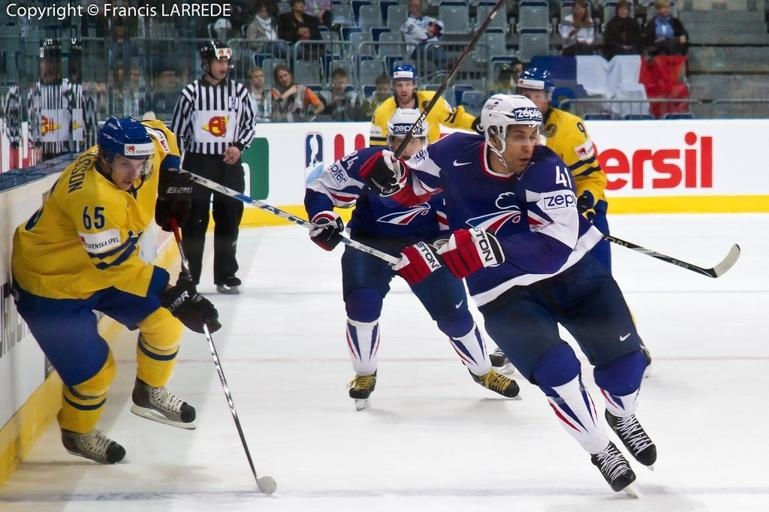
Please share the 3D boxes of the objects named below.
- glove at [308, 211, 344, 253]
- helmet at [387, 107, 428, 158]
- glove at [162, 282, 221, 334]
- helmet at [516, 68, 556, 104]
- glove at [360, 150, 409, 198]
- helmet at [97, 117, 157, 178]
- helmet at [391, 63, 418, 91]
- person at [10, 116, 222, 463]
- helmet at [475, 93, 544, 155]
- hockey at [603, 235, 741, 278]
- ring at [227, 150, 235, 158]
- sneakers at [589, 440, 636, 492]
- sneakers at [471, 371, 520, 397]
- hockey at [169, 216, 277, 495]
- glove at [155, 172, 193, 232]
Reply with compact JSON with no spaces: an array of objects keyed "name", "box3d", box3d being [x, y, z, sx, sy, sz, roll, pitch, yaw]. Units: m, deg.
[{"name":"glove","box3d":[-0.271,-0.130,4.100,0.150,0.148,0.162,1,12,-5]},{"name":"helmet","box3d":[0.089,-0.566,4.118,0.177,0.225,0.225,0,11,0]},{"name":"glove","box3d":[-0.825,0.200,3.842,0.190,0.219,0.093,-44,13,1]},{"name":"helmet","box3d":[0.756,-0.876,4.647,0.147,0.186,0.196,1,0,34]},{"name":"glove","box3d":[0.007,-0.392,4.115,0.195,0.203,0.081,-39,11,34]},{"name":"helmet","box3d":[-1.085,-0.470,3.791,0.202,0.203,0.164,12,21,10]},{"name":"helmet","box3d":[0.130,-1.200,6.089,0.154,0.186,0.214,2,12,9]},{"name":"person","box3d":[-1.213,0.099,3.982,0.816,1.411,0.746,-4,13,-23]},{"name":"helmet","box3d":[0.496,-0.538,3.676,0.256,0.243,0.210,3,7,34]},{"name":"hockey","box3d":[1.775,-0.015,5.490,0.926,0.290,0.072,7,30,38]},{"name":"ring","box3d":[-1.011,-0.666,5.887,0.041,0.025,0.026,-7,-18,9]},{"name":"sneakers","box3d":[0.914,0.817,3.777,0.099,0.117,0.269,-42,32,7]},{"name":"sneakers","box3d":[0.546,0.594,4.447,0.223,0.085,0.088,24,-12,37]},{"name":"hockey","box3d":[-0.791,0.488,4.384,0.180,1.278,0.095,-20,-18,-18]},{"name":"glove","box3d":[-1.013,-0.275,4.296,0.197,0.260,0.095,11,15,27]}]
